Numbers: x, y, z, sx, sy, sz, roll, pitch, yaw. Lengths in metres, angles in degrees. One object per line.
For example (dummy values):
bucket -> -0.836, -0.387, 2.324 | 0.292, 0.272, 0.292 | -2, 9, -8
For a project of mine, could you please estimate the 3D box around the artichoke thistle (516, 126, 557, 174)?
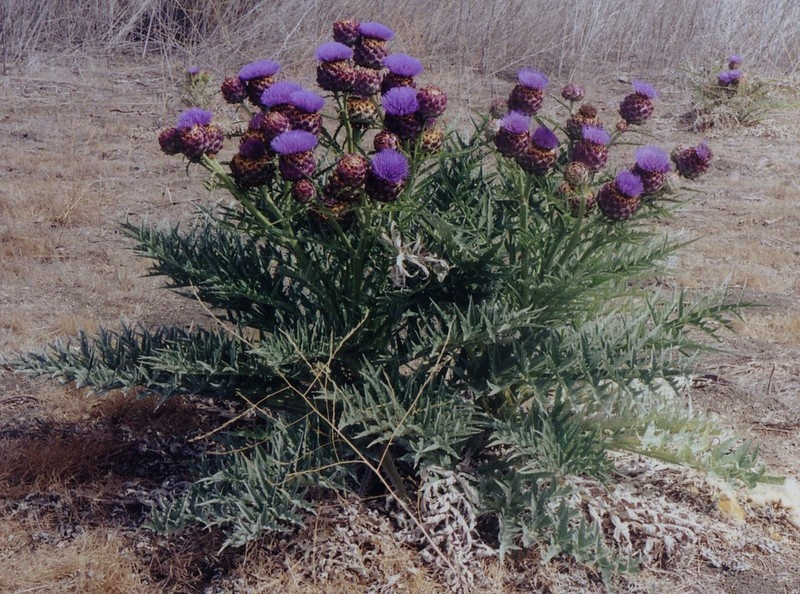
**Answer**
artichoke thistle -> 0.613, -0.658, 5.077 | 0.165, 0.189, 0.175 | 22, 35, 6

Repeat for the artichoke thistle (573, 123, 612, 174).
artichoke thistle -> 0.853, -0.619, 5.146 | 0.128, 0.212, 0.128 | -3, -4, 21

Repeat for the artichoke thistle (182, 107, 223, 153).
artichoke thistle -> -0.861, -0.732, 4.997 | 0.148, 0.116, 0.253 | -3, 78, -18

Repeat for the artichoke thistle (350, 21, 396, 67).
artichoke thistle -> -0.146, -1.134, 5.141 | 0.179, 0.216, 0.180 | 22, 14, 17

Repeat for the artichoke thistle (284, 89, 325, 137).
artichoke thistle -> -0.407, -0.796, 4.948 | 0.161, 0.201, 0.173 | 2, 3, 9

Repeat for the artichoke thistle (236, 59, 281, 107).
artichoke thistle -> -0.632, -0.980, 5.153 | 0.173, 0.201, 0.186 | -21, 35, -9

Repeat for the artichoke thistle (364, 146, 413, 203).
artichoke thistle -> -0.081, -0.503, 4.963 | 0.189, 0.208, 0.201 | 34, 80, 2

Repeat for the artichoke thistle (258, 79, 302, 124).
artichoke thistle -> -0.524, -0.850, 5.060 | 0.148, 0.165, 0.166 | 4, 43, 17

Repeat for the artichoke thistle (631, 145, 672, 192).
artichoke thistle -> 1.131, -0.585, 5.188 | 0.174, 0.219, 0.208 | 3, 52, 10

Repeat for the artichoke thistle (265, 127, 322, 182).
artichoke thistle -> -0.465, -0.611, 4.894 | 0.182, 0.216, 0.214 | -7, 51, 3

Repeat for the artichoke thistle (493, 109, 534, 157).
artichoke thistle -> 0.468, -0.704, 5.123 | 0.127, 0.135, 0.182 | 10, 75, -29

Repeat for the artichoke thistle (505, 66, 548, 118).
artichoke thistle -> 0.568, -0.913, 5.295 | 0.140, 0.151, 0.218 | -4, 59, 43

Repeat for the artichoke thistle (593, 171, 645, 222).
artichoke thistle -> 0.964, -0.446, 5.064 | 0.133, 0.181, 0.150 | -10, 64, -34

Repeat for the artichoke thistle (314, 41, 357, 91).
artichoke thistle -> -0.296, -0.992, 5.056 | 0.164, 0.211, 0.166 | 6, 9, 36
